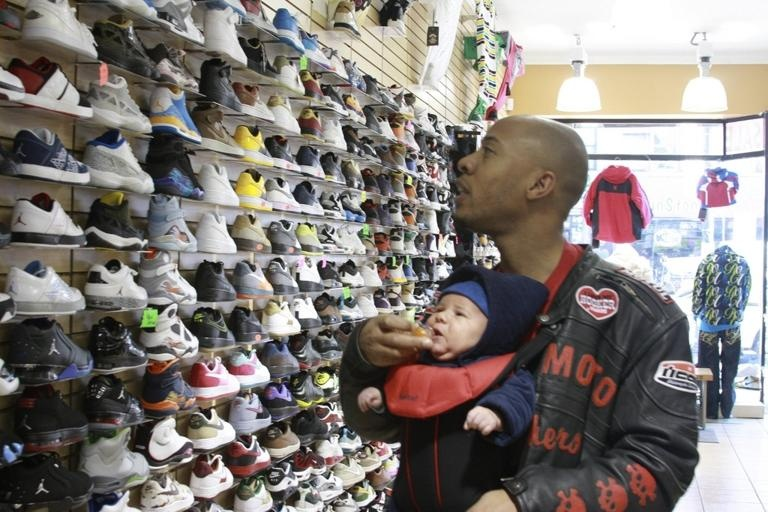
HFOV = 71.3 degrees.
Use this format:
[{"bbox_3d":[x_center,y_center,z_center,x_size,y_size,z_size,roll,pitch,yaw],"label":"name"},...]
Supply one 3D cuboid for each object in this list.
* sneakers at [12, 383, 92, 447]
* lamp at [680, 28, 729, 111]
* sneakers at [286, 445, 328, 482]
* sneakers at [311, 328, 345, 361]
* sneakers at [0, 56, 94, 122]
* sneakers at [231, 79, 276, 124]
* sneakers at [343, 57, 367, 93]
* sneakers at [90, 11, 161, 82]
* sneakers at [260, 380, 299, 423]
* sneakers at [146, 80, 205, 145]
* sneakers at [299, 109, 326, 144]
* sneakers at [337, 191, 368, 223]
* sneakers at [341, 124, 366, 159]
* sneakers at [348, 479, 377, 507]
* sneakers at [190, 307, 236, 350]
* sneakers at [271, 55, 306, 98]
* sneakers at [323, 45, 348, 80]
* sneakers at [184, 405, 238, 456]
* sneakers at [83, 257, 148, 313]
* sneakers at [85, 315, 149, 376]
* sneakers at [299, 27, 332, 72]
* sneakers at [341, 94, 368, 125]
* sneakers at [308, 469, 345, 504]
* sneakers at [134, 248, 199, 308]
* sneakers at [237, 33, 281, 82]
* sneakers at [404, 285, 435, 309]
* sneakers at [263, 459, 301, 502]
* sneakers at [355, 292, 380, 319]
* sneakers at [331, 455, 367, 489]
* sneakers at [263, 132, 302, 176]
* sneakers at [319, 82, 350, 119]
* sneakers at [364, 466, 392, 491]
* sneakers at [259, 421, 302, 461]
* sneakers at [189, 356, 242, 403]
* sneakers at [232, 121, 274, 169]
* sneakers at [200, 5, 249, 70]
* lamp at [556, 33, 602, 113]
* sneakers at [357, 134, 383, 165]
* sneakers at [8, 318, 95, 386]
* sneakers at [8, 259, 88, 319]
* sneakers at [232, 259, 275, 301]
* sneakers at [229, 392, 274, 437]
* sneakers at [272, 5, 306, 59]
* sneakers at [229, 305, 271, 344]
[{"bbox_3d":[-1.418,0.689,2.376,0.189,0.217,0.348,-1,-4,27],"label":"sneakers"},{"bbox_3d":[4.373,-2.495,7.328,0.614,1.008,0.575,-16,21,-22],"label":"lamp"},{"bbox_3d":[-0.515,1.400,3.644,0.124,0.124,0.307,1,-1,20],"label":"sneakers"},{"bbox_3d":[-0.400,0.624,3.858,0.160,0.111,0.272,-2,12,-26],"label":"sneakers"},{"bbox_3d":[-1.402,-0.694,2.311,0.141,0.179,0.415,5,-3,30],"label":"sneakers"},{"bbox_3d":[-0.762,-0.883,3.191,0.108,0.129,0.322,4,-3,24],"label":"sneakers"},{"bbox_3d":[-0.215,-1.338,4.057,0.108,0.134,0.332,7,-13,33],"label":"sneakers"},{"bbox_3d":[-1.195,-0.947,2.483,0.142,0.211,0.397,17,1,36],"label":"sneakers"},{"bbox_3d":[-0.681,0.923,3.441,0.150,0.169,0.325,-1,-2,22],"label":"sneakers"},{"bbox_3d":[-1.059,-0.704,2.686,0.138,0.210,0.386,3,-9,24],"label":"sneakers"},{"bbox_3d":[-0.492,-0.867,3.614,0.116,0.122,0.300,6,1,8],"label":"sneakers"},{"bbox_3d":[-0.256,-0.361,4.135,0.114,0.139,0.334,2,-17,31],"label":"sneakers"},{"bbox_3d":[-0.231,-0.851,4.134,0.112,0.125,0.302,7,-3,20],"label":"sneakers"},{"bbox_3d":[-0.159,1.808,4.081,0.119,0.111,0.263,46,4,6],"label":"sneakers"},{"bbox_3d":[-0.951,0.407,3.046,0.157,0.128,0.282,2,-3,14],"label":"sneakers"},{"bbox_3d":[-0.589,-1.110,3.392,0.125,0.121,0.307,7,0,13],"label":"sneakers"},{"bbox_3d":[-0.316,-1.342,3.798,0.105,0.121,0.307,4,-3,21],"label":"sneakers"},{"bbox_3d":[-0.972,0.969,3.078,0.143,0.154,0.369,0,-2,21],"label":"sneakers"},{"bbox_3d":[-1.257,0.156,2.565,0.127,0.210,0.282,0,-5,41],"label":"sneakers"},{"bbox_3d":[-1.252,0.426,2.487,0.188,0.207,0.343,1,-1,22],"label":"sneakers"},{"bbox_3d":[-0.461,-1.341,3.587,0.106,0.125,0.313,5,-5,30],"label":"sneakers"},{"bbox_3d":[-0.205,-1.081,4.068,0.111,0.140,0.330,-5,-11,24],"label":"sneakers"},{"bbox_3d":[-0.391,1.595,3.738,0.125,0.140,0.322,8,-6,27],"label":"sneakers"},{"bbox_3d":[-1.109,0.127,2.818,0.370,0.241,0.181,17,-1,-29],"label":"sneakers"},{"bbox_3d":[-0.733,-1.139,3.123,0.118,0.146,0.322,5,1,25],"label":"sneakers"},{"bbox_3d":[0.343,0.394,5.147,0.300,0.108,0.208,3,2,12],"label":"sneakers"},{"bbox_3d":[-0.645,1.418,3.406,0.130,0.136,0.316,1,-5,13],"label":"sneakers"},{"bbox_3d":[-0.131,0.398,4.318,0.171,0.133,0.256,-1,9,-21],"label":"sneakers"},{"bbox_3d":[-0.250,1.588,3.983,0.136,0.128,0.311,-1,-4,22],"label":"sneakers"},{"bbox_3d":[-0.652,-0.645,3.406,0.120,0.141,0.350,4,-5,21],"label":"sneakers"},{"bbox_3d":[-0.351,-1.083,3.845,0.110,0.131,0.323,3,-6,23],"label":"sneakers"},{"bbox_3d":[-0.035,1.799,4.374,0.101,0.125,0.293,2,-7,22],"label":"sneakers"},{"bbox_3d":[-0.663,1.180,3.472,0.143,0.132,0.307,1,0,14],"label":"sneakers"},{"bbox_3d":[-0.963,0.688,3.003,0.151,0.193,0.357,0,-3,33],"label":"sneakers"},{"bbox_3d":[-0.774,-0.637,3.164,0.119,0.136,0.340,5,-3,18],"label":"sneakers"},{"bbox_3d":[-0.848,-1.180,2.908,0.270,0.254,0.182,6,-5,-28],"label":"sneakers"},{"bbox_3d":[2.799,-2.580,7.387,0.645,1.058,0.615,-8,30,17],"label":"lamp"},{"bbox_3d":[-0.128,-0.836,4.327,0.107,0.129,0.326,4,-8,31],"label":"sneakers"},{"bbox_3d":[-1.415,0.405,2.361,0.201,0.206,0.375,1,-3,20],"label":"sneakers"},{"bbox_3d":[-1.426,0.157,2.324,0.154,0.159,0.331,2,-1,21],"label":"sneakers"},{"bbox_3d":[-0.792,0.155,3.284,0.159,0.157,0.294,7,-4,34],"label":"sneakers"},{"bbox_3d":[-0.822,0.949,3.236,0.152,0.153,0.358,1,-2,15],"label":"sneakers"},{"bbox_3d":[-0.598,-1.364,3.269,0.120,0.141,0.343,10,2,10],"label":"sneakers"},{"bbox_3d":[-0.801,0.409,3.217,0.156,0.117,0.260,2,-3,12],"label":"sneakers"}]
